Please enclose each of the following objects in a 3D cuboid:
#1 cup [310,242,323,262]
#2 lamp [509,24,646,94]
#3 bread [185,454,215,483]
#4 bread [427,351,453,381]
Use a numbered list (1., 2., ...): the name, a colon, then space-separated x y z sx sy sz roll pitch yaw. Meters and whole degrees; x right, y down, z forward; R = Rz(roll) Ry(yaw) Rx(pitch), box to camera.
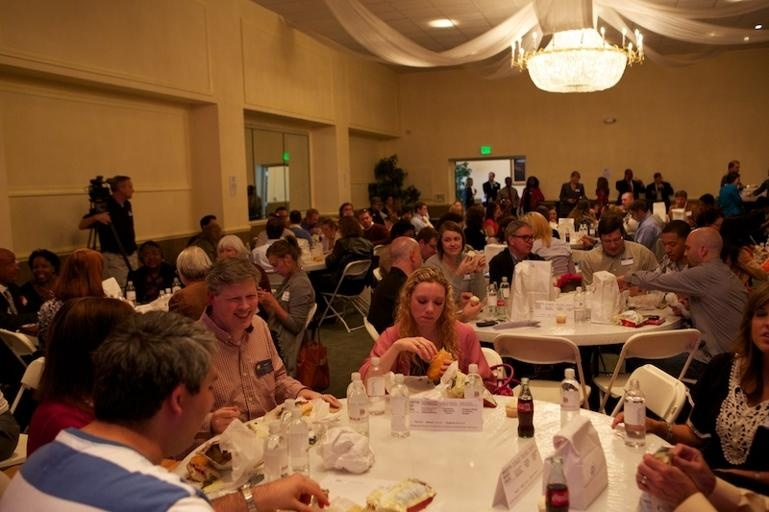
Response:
1. cup: -1.052 -0.066 8.319 0.202 0.371 0.362 0 1 1
2. lamp: 2.998 -3.030 8.881 1.769 0.954 1.844 -2 4 -4
3. bread: -0.792 0.899 2.277 0.101 0.067 0.104 -3 10 -32
4. bread: 0.304 0.589 2.909 0.164 0.120 0.059 -43 12 -12
